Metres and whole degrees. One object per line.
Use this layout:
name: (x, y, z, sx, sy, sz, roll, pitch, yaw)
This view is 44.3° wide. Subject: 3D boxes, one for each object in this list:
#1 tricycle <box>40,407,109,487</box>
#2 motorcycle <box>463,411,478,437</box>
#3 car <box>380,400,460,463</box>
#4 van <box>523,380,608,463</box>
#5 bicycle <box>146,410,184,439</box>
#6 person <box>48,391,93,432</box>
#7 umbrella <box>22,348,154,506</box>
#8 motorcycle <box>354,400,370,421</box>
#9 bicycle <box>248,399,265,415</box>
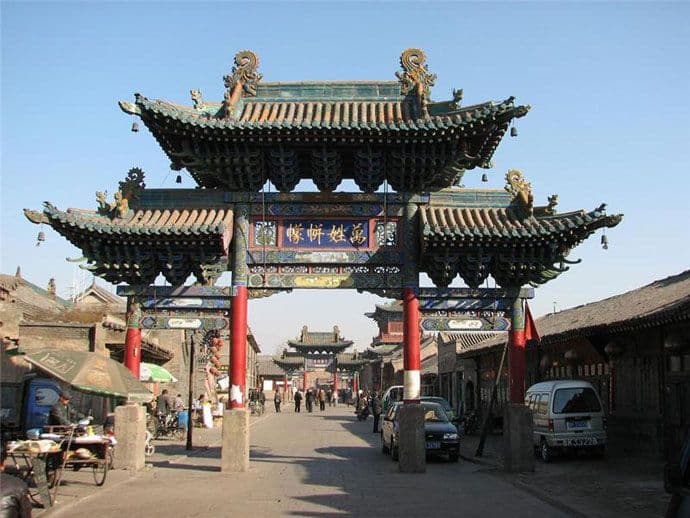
tricycle: (-6.386, 4.703, 21.065, 1.539, 1.380, 2.076, 3, -6, -21)
motorcycle: (5.221, 6.856, 35.321, 0.512, 1.132, 1.657, -2, -14, 8)
car: (2.455, 5.442, 26.620, 2.996, 2.315, 2.892, 2, -5, -10)
van: (6.480, 4.876, 26.350, 2.498, 2.764, 2.474, 4, -3, -4)
bicycle: (-7.088, 6.644, 33.646, 2.042, 1.265, 1.008, 2, -8, -29)
person: (-6.921, 3.995, 21.384, 0.869, 1.314, 0.935, 6, -1, -6)
umbrella: (-6.635, 3.258, 21.829, 3.280, 2.089, 3.162, 28, -14, -9)
motorcycle: (1.062, 8.653, 47.687, 0.564, 0.735, 1.189, 0, -15, -7)
bicycle: (-5.780, 9.857, 56.210, 0.960, 1.198, 1.953, -1, 3, -7)
